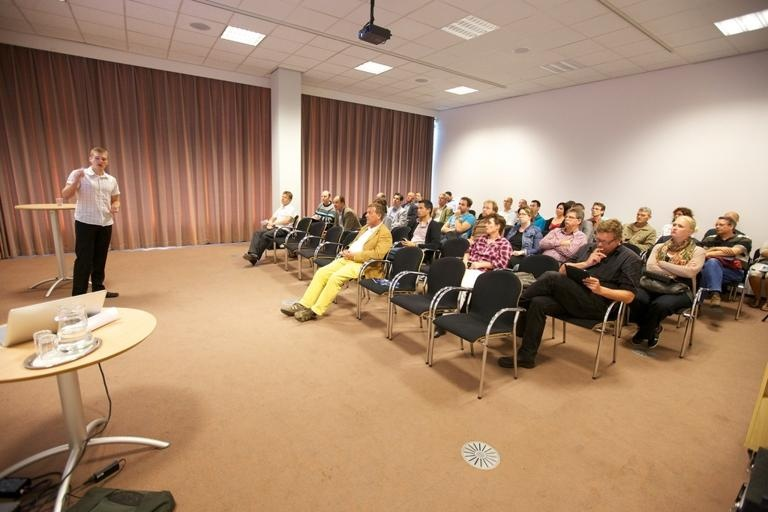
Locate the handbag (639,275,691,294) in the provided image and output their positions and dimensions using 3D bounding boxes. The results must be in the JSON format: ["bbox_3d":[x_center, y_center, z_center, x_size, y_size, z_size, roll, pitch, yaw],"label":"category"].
[{"bbox_3d":[3.335,0.344,5.315,0.459,0.168,0.397,-2,8,-27],"label":"handbag"}]

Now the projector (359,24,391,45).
[{"bbox_3d":[-0.121,-2.824,5.733,0.374,0.124,0.271,3,-4,-35],"label":"projector"}]

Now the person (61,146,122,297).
[{"bbox_3d":[-3.756,-0.438,5.755,0.595,1.864,0.323,-3,11,-38],"label":"person"}]

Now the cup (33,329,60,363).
[{"bbox_3d":[-2.655,0.698,3.507,0.144,0.206,0.253,-2,9,-37],"label":"cup"}]
